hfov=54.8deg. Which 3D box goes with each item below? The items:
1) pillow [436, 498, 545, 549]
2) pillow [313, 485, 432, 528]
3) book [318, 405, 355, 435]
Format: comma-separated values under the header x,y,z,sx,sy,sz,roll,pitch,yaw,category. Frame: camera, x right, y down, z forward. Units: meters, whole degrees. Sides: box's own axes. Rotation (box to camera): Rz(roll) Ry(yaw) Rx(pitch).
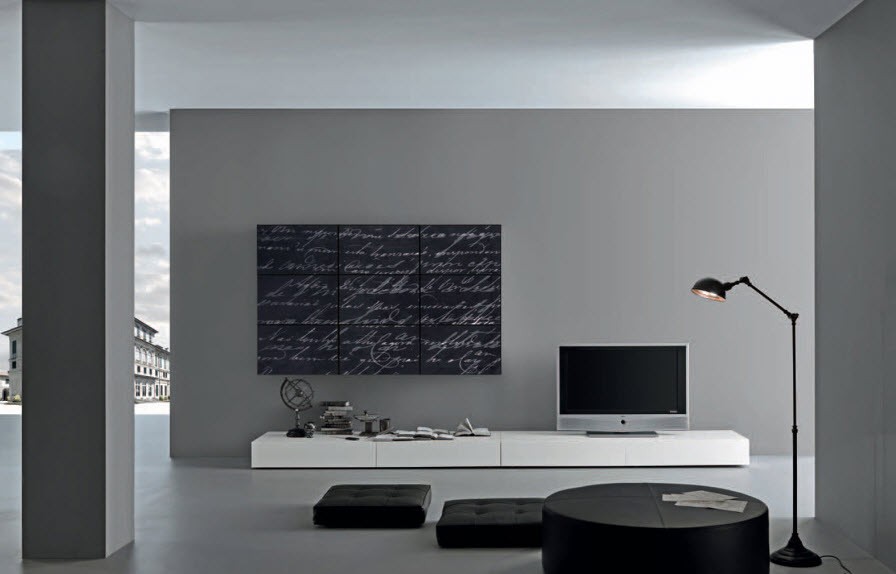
x,y,z,sx,sy,sz,roll,pitch,yaw,category
0.358,1.987,7.320,0.877,0.298,0.597,0,7,7,pillow
-0.692,1.956,7.751,1.002,0.234,0.472,0,7,2,pillow
-1.230,1.457,9.635,0.452,0.447,0.277,1,-1,1,book
